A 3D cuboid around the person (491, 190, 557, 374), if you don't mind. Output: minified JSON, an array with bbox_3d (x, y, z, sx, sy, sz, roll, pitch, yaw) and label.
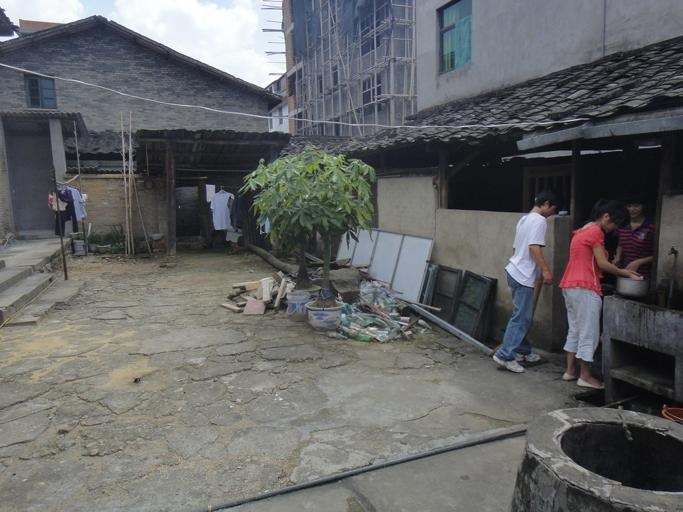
[{"bbox_3d":[2.468,0.338,5.710,0.586,2.323,0.848,8,16,25],"label":"person"}]

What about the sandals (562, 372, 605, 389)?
[{"bbox_3d":[2.925,1.504,5.212,0.337,0.075,0.121,7,1,22],"label":"sandals"}]

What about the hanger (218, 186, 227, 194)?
[{"bbox_3d":[-4.184,-2.376,15.407,0.225,0.194,1.664,-3,11,-14],"label":"hanger"}]

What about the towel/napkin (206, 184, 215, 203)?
[{"bbox_3d":[-5.108,-2.401,16.841,0.263,0.632,0.868,-3,13,-12],"label":"towel/napkin"}]

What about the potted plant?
[{"bbox_3d":[-0.408,-0.261,6.905,1.824,2.887,0.953,1,14,1],"label":"potted plant"}]

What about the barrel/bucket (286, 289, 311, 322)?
[{"bbox_3d":[-0.723,0.843,7.352,0.542,0.434,0.498,1,-1,0],"label":"barrel/bucket"}]

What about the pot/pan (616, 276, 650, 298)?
[{"bbox_3d":[3.284,0.357,4.856,0.274,0.137,0.248,1,2,12],"label":"pot/pan"}]
